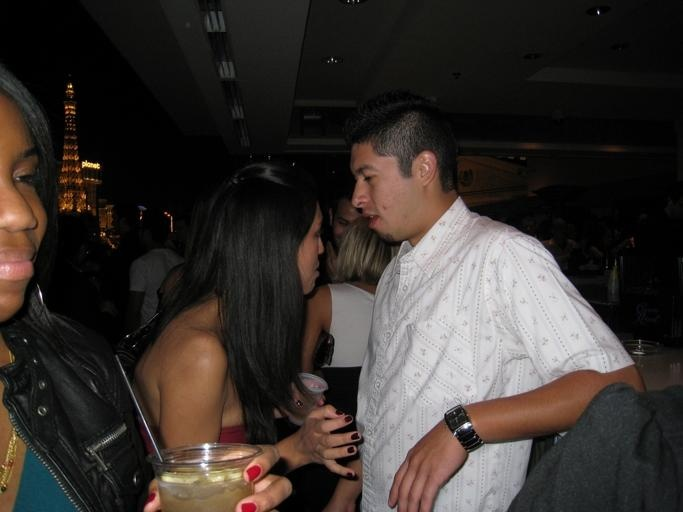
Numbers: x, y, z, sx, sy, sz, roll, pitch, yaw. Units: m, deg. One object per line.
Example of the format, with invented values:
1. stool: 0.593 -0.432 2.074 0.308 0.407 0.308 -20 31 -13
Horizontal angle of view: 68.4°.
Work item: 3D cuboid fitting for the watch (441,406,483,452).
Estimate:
1. watch: 0.348 0.486 1.453 0.054 0.092 0.094 -34 6 8
